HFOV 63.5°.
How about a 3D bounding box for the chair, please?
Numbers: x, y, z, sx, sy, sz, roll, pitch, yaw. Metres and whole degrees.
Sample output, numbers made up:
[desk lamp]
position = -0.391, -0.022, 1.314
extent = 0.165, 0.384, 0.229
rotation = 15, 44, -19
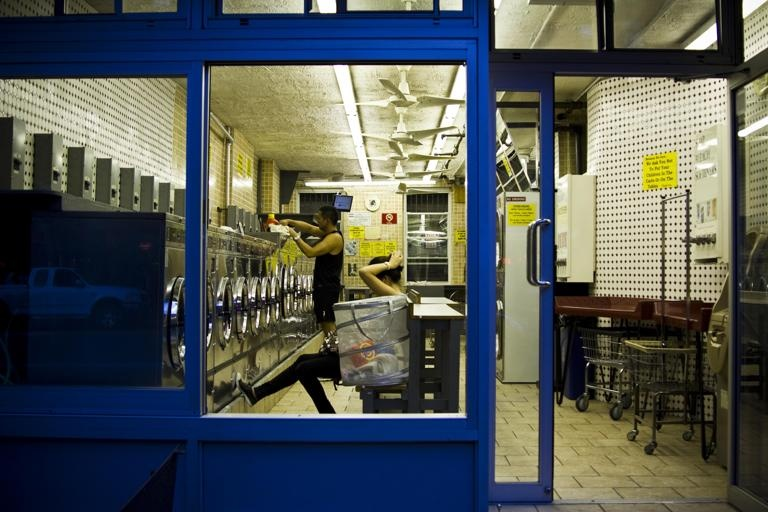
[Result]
[chair]
position = 0.091, 0.850, 4.996
extent = 0.462, 1.046, 1.297
rotation = 0, -1, 4

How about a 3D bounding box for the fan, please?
[fan]
position = -0.044, -1.776, 9.413
extent = 1.336, 1.481, 1.446
rotation = -2, -7, -14

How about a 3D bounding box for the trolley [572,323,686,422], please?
[trolley]
position = 2.679, 1.212, 6.618
extent = 1.112, 0.979, 0.731
rotation = 10, -15, 0
